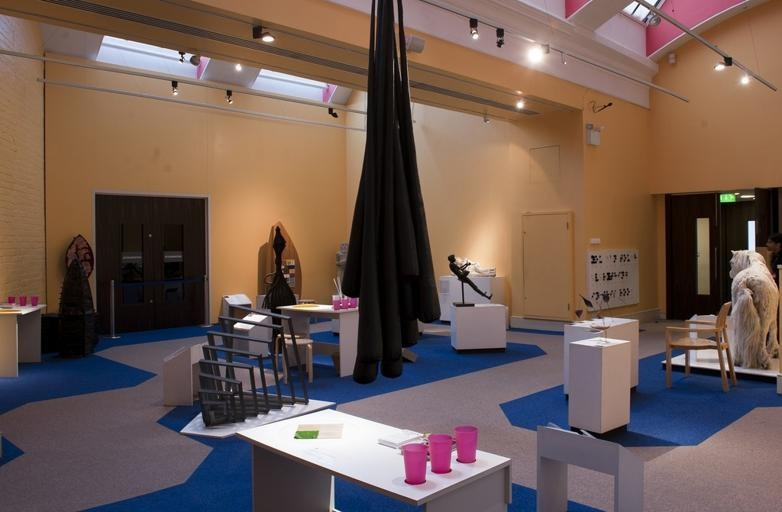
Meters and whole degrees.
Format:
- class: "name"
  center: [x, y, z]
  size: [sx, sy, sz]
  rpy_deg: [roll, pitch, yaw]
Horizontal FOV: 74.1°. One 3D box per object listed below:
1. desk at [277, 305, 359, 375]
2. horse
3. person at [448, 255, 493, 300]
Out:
- class: "desk"
  center: [-1.179, 1.340, 8.253]
  size: [1.464, 1.008, 0.762]
  rpy_deg: [5, 8, 40]
- class: "horse"
  center: [5.549, 0.946, 7.880]
  size: [0.830, 1.898, 0.403]
  rpy_deg: [-1, 0, -10]
- class: "person"
  center: [1.475, 0.518, 9.834]
  size: [0.783, 1.096, 0.447]
  rpy_deg: [2, 13, 26]
